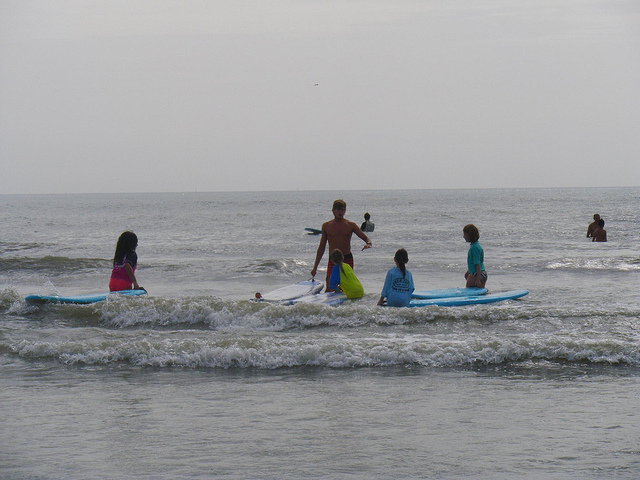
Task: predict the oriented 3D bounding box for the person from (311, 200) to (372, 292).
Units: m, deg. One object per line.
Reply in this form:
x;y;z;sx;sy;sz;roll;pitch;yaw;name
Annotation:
0.478;0.477;27.968;1.344;2.752;0.846;-1;-7;10;person

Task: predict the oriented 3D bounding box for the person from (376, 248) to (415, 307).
1.586;0.770;27.024;0.731;1.339;1.186;-1;-11;3;person

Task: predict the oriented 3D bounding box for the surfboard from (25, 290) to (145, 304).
-4.982;1.235;27.450;2.344;0.344;0.902;-2;-11;10;surfboard

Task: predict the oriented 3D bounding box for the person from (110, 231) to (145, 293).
-4.121;0.485;27.252;0.625;1.204;1.133;2;-11;-9;person

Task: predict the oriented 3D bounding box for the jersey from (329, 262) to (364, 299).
0.600;0.916;28.246;0.643;0.896;0.690;-16;-12;19;jersey

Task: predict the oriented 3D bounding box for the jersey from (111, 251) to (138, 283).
-4.165;0.558;27.608;0.448;0.802;0.734;15;-1;-3;jersey

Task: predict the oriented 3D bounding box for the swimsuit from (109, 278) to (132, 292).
-4.297;0.953;27.420;0.434;0.313;0.260;3;11;13;swimsuit

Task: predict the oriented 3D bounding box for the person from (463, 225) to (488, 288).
3.402;0.408;28.250;0.471;1.260;1.763;-1;-11;7;person

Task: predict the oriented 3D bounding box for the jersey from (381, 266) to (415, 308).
1.625;1.005;26.889;0.683;0.874;0.509;0;-11;-2;jersey

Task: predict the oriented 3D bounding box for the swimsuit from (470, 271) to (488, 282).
3.507;0.818;28.422;0.286;0.279;0.796;-3;-12;14;swimsuit

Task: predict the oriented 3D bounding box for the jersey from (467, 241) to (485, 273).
3.418;0.333;28.168;0.392;0.709;0.766;0;7;9;jersey
